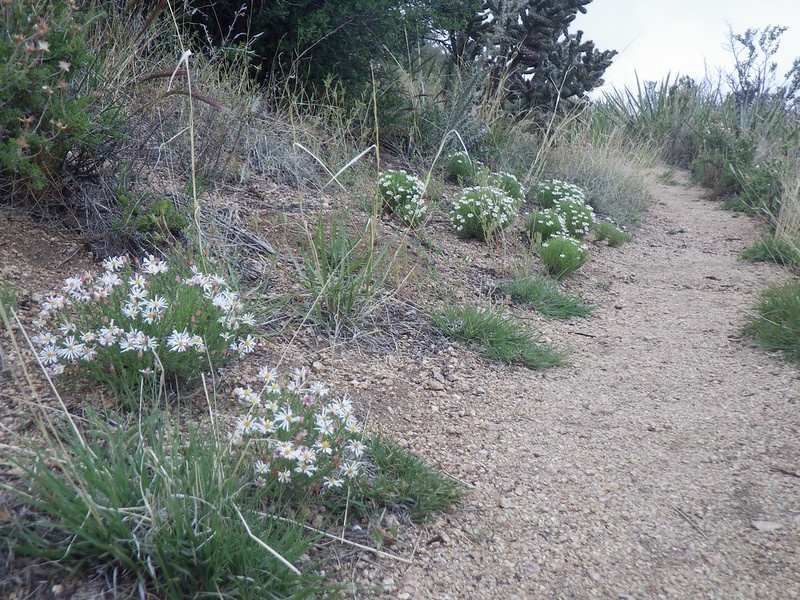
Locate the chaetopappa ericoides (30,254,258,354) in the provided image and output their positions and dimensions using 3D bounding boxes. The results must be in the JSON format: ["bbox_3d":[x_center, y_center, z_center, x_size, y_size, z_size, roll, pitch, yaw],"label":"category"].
[{"bbox_3d":[-1.441,0.073,3.642,0.738,0.557,0.778,7,1,-11],"label":"chaetopappa ericoides"}]

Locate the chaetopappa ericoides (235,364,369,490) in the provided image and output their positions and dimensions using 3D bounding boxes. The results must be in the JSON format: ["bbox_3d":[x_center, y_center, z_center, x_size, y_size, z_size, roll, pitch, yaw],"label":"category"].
[{"bbox_3d":[-0.535,0.651,3.369,0.583,0.422,0.708,-2,54,-40],"label":"chaetopappa ericoides"}]
